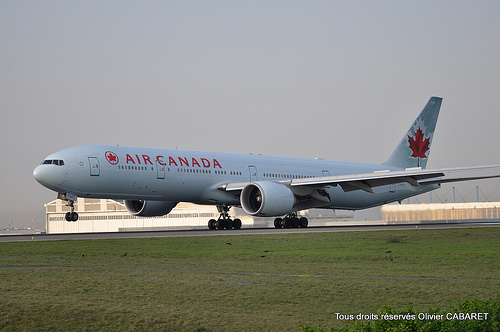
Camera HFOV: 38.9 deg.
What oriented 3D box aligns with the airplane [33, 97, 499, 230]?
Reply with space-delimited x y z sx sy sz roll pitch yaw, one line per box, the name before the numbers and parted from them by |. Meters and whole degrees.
airplane | 1.803 -0.988 43.204 28.403 9.780 12.392 2 -7 -15
